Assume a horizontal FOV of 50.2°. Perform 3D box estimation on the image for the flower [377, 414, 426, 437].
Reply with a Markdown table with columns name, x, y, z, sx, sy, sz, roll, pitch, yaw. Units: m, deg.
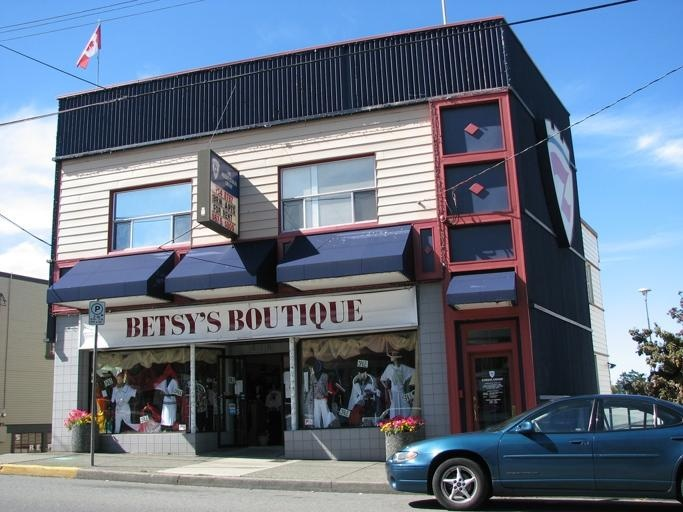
| name | x | y | z | sx | sy | sz | roll | pitch | yaw |
| --- | --- | --- | --- | --- | --- | --- | --- | --- | --- |
| flower | 1.466 | 3.932 | 16.924 | 0.613 | 0.287 | 0.609 | 6 | -10 | -43 |

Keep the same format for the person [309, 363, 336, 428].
| name | x | y | z | sx | sy | sz | roll | pitch | yaw |
| --- | --- | --- | --- | --- | --- | --- | --- | --- | --- |
| person | -0.474 | 3.454 | 18.293 | 0.559 | 1.612 | 0.147 | -8 | -16 | 23 |

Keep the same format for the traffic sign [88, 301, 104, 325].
| name | x | y | z | sx | sy | sz | roll | pitch | yaw |
| --- | --- | --- | --- | --- | --- | --- | --- | --- | --- |
| traffic sign | -5.664 | 1.329 | 16.868 | 0.324 | 0.558 | 0.580 | 4 | -15 | -21 |

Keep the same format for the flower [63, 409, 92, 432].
| name | x | y | z | sx | sy | sz | roll | pitch | yaw |
| --- | --- | --- | --- | --- | --- | --- | --- | --- | --- |
| flower | -6.969 | 4.307 | 19.264 | 0.559 | 0.401 | 0.566 | -2 | -6 | 27 |
